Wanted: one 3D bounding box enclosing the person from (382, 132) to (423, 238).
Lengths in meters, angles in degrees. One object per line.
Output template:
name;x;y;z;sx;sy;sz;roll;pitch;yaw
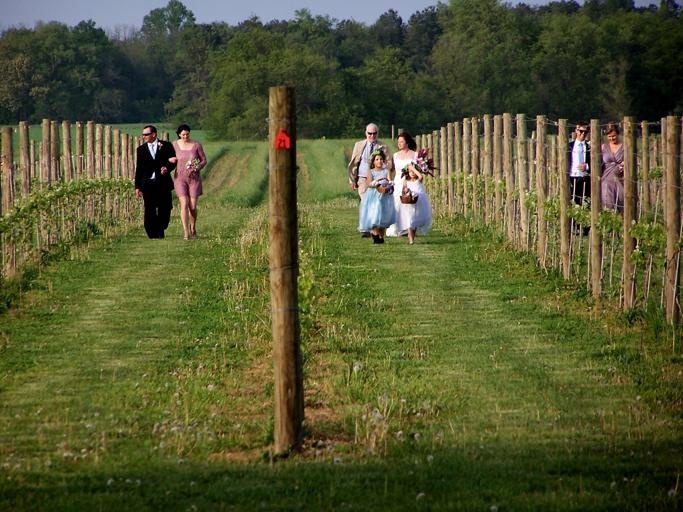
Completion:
person;1.566;-1.969;39.449;0.755;2.668;0.856;1;11;-3

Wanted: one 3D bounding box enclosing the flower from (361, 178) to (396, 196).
flower;1.032;-1.878;38.902;0.501;0.269;0.404;8;7;36

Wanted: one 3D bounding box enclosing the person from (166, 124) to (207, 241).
person;-4.139;-2.035;39.859;0.853;2.971;1.207;0;1;-3

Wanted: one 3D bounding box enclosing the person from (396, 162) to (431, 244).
person;1.891;-1.384;39.352;0.750;2.269;0.758;-2;11;-13

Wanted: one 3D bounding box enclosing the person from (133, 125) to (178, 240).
person;-4.961;-2.072;39.597;0.938;3.159;1.125;0;1;-12

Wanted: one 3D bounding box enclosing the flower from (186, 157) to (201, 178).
flower;-3.909;-2.416;39.387;0.321;0.462;0.199;8;2;6

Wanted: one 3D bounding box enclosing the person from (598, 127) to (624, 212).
person;7.113;-2.249;39.050;0.636;2.437;0.650;-6;29;2

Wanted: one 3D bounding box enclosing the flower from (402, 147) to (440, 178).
flower;2.042;-2.525;39.071;0.735;0.699;0.875;-1;3;25

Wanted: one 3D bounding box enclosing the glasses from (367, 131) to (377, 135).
glasses;0.807;-3.280;38.845;0.234;0.089;0.223;-3;3;-9

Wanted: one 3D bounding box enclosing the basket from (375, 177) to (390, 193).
basket;1.098;-1.880;38.825;0.379;0.359;0.206;-2;2;-2

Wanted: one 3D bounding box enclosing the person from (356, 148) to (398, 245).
person;0.950;-1.578;39.215;0.793;2.654;0.930;0;1;4

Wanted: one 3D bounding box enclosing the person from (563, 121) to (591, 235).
person;6.298;-2.057;39.775;0.727;3.088;0.789;0;13;-5

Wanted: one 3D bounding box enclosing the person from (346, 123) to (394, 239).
person;0.725;-2.111;39.687;0.999;3.101;0.986;-1;10;-14
